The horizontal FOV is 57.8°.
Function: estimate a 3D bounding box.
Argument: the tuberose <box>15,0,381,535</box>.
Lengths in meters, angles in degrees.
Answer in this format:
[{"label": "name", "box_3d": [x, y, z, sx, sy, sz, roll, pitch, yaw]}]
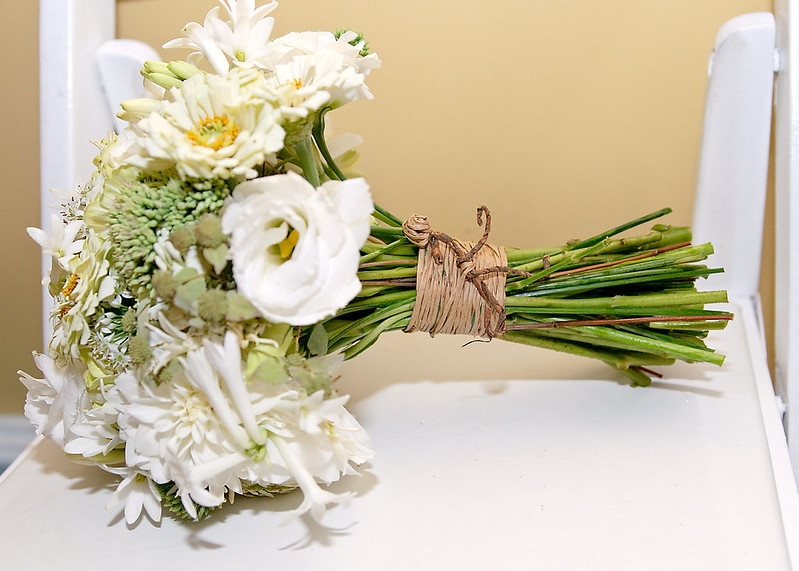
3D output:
[{"label": "tuberose", "box_3d": [-0.284, -0.033, 0.994, 0.518, 0.726, 0.267, -1, -3, 2]}]
